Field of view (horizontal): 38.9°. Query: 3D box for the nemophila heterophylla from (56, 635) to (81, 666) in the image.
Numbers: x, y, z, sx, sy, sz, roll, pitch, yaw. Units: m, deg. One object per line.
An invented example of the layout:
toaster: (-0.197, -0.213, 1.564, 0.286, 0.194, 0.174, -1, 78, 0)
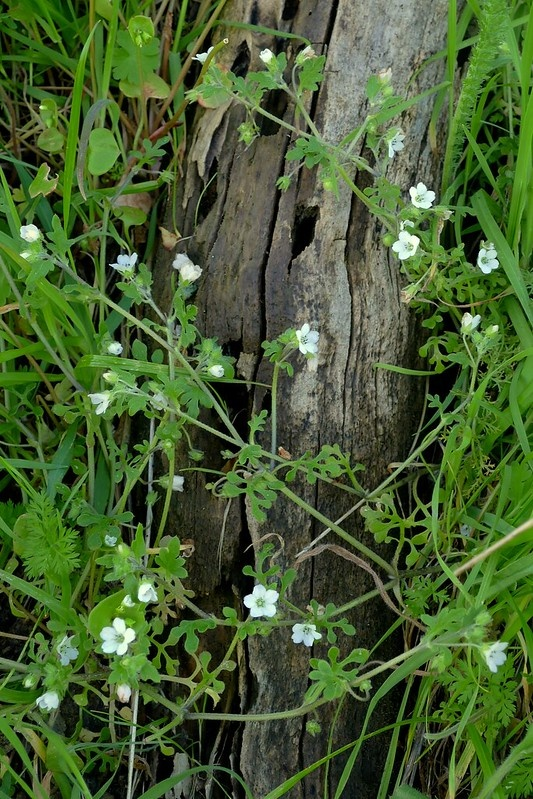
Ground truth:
nemophila heterophylla: (-0.344, 0.432, 1.296, 0.019, 0.044, 0.044, 12, 62, 40)

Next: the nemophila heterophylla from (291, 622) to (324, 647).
nemophila heterophylla: (0.065, 0.391, 1.258, 0.041, 0.026, 0.034, 1, 78, -6)

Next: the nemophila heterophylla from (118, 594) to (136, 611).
nemophila heterophylla: (-0.208, 0.304, 1.127, 0.024, 0.034, 0.008, 8, 27, 22)

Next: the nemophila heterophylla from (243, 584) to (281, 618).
nemophila heterophylla: (-0.011, 0.333, 1.246, 0.056, 0.107, 0.053, 10, 77, -3)
